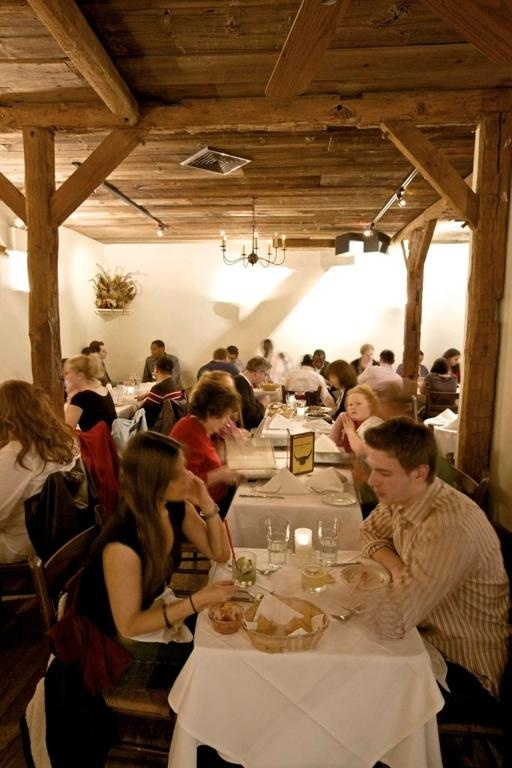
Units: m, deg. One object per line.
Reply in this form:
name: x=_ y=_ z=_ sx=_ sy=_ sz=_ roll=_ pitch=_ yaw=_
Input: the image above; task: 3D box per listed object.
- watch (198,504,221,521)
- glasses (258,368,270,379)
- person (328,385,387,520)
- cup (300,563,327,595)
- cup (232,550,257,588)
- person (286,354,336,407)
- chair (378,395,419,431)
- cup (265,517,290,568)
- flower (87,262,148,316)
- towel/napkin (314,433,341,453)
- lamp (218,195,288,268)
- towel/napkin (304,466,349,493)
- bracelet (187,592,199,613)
watch: x=-0.170 y=0.457 z=1.897 sx=0.057 sy=0.036 sz=0.075 roll=-5 pitch=-5 yaw=17
glasses: x=0.083 y=-0.117 z=5.578 sx=0.106 sy=0.124 sz=0.140 roll=-3 pitch=12 yaw=-1
person: x=0.482 y=0.328 z=2.518 sx=0.245 sy=0.812 sz=0.290 roll=19 pitch=-35 yaw=-19
cup: x=0.167 y=0.562 z=1.518 sx=0.063 sy=0.040 sz=0.064 roll=2 pitch=15 yaw=-1
cup: x=-0.029 y=0.542 z=1.546 sx=0.068 sy=0.078 sz=0.073 roll=1 pitch=-3 yaw=0
person: x=0.605 y=-0.017 z=6.024 sx=0.548 sy=0.879 sz=0.476 roll=3 pitch=39 yaw=9
chair: x=0.943 y=0.163 z=3.510 sx=0.210 sy=0.374 sz=0.268 roll=2 pitch=11 yaw=7
cup: x=0.070 y=0.518 z=1.749 sx=0.114 sy=0.178 sz=0.110 roll=3 pitch=4 yaw=0
flower: x=-2.207 y=-1.418 z=8.262 sx=0.711 sy=0.935 sz=0.886 roll=6 pitch=3 yaw=0
towel/napkin: x=0.430 y=0.350 z=3.141 sx=0.135 sy=0.068 sz=0.160 roll=0 pitch=-4 yaw=8
lamp: x=0.048 y=-2.115 z=8.125 sx=0.971 sy=1.237 sz=0.980 roll=0 pitch=-7 yaw=1
towel/napkin: x=0.331 y=0.435 z=2.400 sx=0.135 sy=0.048 sz=0.118 roll=0 pitch=5 yaw=-9
bracelet: x=-0.173 y=0.594 z=1.427 sx=0.011 sy=0.041 sz=0.042 roll=-20 pitch=11 yaw=-20
